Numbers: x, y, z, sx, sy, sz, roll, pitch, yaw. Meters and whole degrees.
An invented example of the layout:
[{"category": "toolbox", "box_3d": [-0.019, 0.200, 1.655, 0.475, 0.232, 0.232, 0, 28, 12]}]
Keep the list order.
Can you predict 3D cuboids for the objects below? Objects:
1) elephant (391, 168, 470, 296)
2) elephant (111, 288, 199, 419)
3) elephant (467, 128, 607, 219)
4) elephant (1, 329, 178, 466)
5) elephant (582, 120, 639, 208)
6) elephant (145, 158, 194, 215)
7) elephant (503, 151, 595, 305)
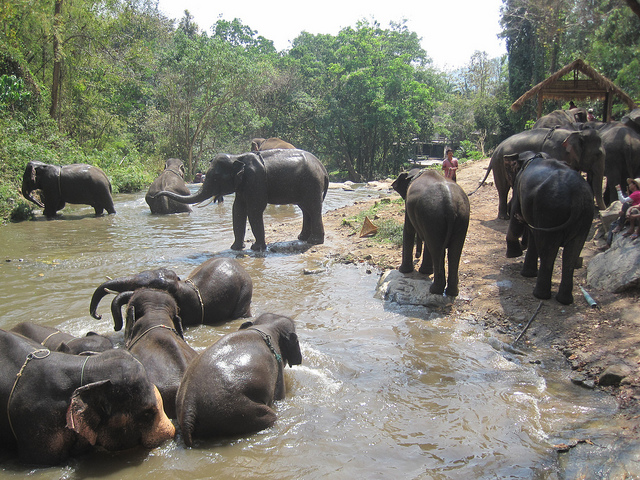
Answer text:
[{"category": "elephant", "box_3d": [1.863, -0.198, 10.160, 0.826, 2.002, 1.644, -2, 12, -11]}, {"category": "elephant", "box_3d": [-2.118, 1.338, 7.737, 0.777, 1.074, 1.877, -3, 38, -24]}, {"category": "elephant", "box_3d": [4.655, -1.395, 12.177, 2.826, 1.760, 1.128, 0, 3, 26]}, {"category": "elephant", "box_3d": [-2.557, 1.823, 7.051, 2.214, 1.306, 1.023, 21, 12, -17]}, {"category": "elephant", "box_3d": [5.987, -1.548, 12.171, 0.716, 1.768, 1.349, 0, 11, -1]}, {"category": "elephant", "box_3d": [-4.748, -1.693, 19.257, 1.124, 1.689, 2.945, 1, 29, -2]}, {"category": "elephant", "box_3d": [3.696, -0.291, 9.832, 0.800, 2.231, 1.911, 0, 11, -1]}]
